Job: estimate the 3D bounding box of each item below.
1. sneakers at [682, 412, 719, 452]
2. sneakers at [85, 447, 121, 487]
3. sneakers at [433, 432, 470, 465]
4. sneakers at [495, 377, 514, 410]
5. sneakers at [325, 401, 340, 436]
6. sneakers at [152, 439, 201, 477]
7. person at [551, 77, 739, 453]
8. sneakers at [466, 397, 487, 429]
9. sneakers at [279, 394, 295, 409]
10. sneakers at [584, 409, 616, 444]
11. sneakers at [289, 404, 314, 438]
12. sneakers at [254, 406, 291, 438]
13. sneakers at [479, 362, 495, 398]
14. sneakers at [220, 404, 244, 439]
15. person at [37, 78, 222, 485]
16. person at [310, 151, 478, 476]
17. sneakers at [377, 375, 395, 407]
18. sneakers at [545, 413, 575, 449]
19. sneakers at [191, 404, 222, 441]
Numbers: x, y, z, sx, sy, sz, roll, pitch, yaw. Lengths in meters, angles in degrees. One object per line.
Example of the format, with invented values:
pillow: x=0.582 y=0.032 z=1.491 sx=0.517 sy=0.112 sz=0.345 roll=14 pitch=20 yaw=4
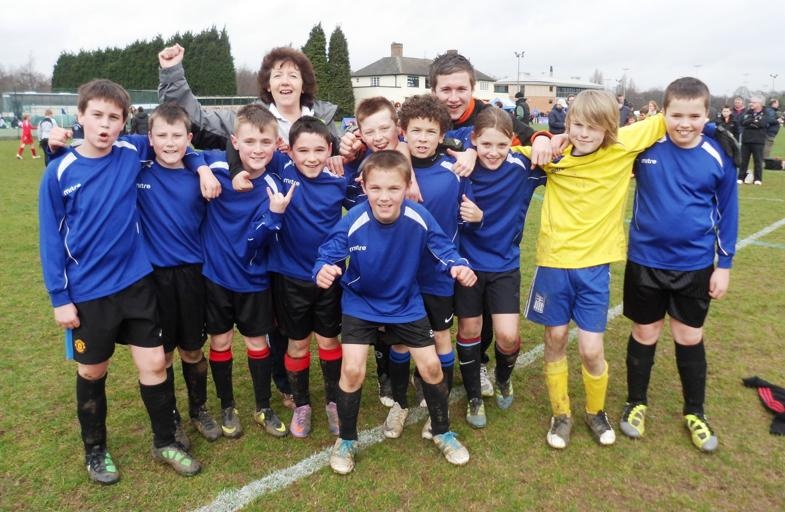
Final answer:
sneakers: x=2.742 y=1.568 z=5.144 sx=0.147 sy=0.161 sz=0.376 roll=-16 pitch=18 yaw=3
sneakers: x=-2.402 y=1.736 z=4.787 sx=0.167 sy=0.190 sz=0.421 roll=-8 pitch=11 yaw=-40
sneakers: x=0.509 y=1.681 z=5.015 sx=0.165 sy=0.134 sz=0.336 roll=-18 pitch=27 yaw=-32
sneakers: x=1.088 y=1.344 z=5.597 sx=0.134 sy=0.296 sz=0.124 roll=-4 pitch=-2 yaw=11
sneakers: x=-0.555 y=1.506 z=5.303 sx=0.113 sy=0.341 sz=0.144 roll=-10 pitch=-16 yaw=-7
sneakers: x=-1.792 y=1.714 z=4.891 sx=0.448 sy=0.202 sz=0.190 roll=22 pitch=33 yaw=10
person: x=2.547 y=0.049 z=5.094 sx=0.910 sy=3.150 sz=0.832 roll=2 pitch=15 yaw=15
sneakers: x=0.780 y=1.471 z=5.319 sx=0.148 sy=0.125 sz=0.289 roll=-3 pitch=9 yaw=0
sneakers: x=-1.030 y=1.424 z=5.635 sx=0.129 sy=0.180 sz=0.087 roll=5 pitch=-7 yaw=-8
sneakers: x=1.883 y=1.538 z=5.215 sx=0.154 sy=0.151 sz=0.343 roll=-8 pitch=16 yaw=-8
sneakers: x=-0.838 y=1.524 z=5.257 sx=0.129 sy=0.149 sz=0.340 roll=1 pitch=32 yaw=-7
sneakers: x=-1.107 y=1.529 z=5.249 sx=0.362 sy=0.145 sz=0.164 roll=21 pitch=24 yaw=35
sneakers: x=0.949 y=1.270 z=5.876 sx=0.128 sy=0.162 sz=0.382 roll=-4 pitch=20 yaw=-3
sneakers: x=-1.462 y=1.519 z=5.232 sx=0.127 sy=0.142 sz=0.335 roll=-16 pitch=23 yaw=-19
person: x=-2.275 y=0.194 z=4.735 sx=0.964 sy=3.207 sz=0.799 roll=-4 pitch=14 yaw=-6
person: x=-0.025 y=0.461 z=4.835 sx=1.217 sy=2.639 sz=0.600 roll=-3 pitch=14 yaw=-3
sneakers: x=-0.076 y=1.358 z=5.641 sx=0.114 sy=0.148 sz=0.342 roll=-2 pitch=7 yaw=-11
sneakers: x=1.494 y=1.575 z=5.153 sx=0.140 sy=0.162 sz=0.357 roll=3 pitch=13 yaw=11
sneakers: x=-1.731 y=1.526 z=5.290 sx=0.177 sy=0.171 sz=0.462 roll=-12 pitch=26 yaw=-42
